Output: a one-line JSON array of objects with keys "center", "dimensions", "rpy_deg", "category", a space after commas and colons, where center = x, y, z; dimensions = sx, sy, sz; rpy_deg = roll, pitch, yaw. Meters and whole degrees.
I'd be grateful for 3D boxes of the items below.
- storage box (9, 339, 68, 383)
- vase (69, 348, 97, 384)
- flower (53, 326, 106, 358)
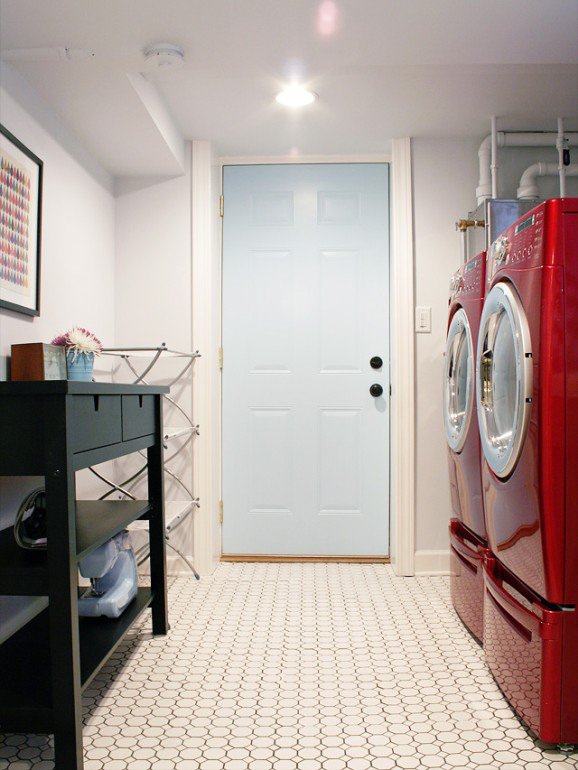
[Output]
[{"center": [-0.698, -0.064, 1.716], "dimensions": [0.147, 0.099, 0.114], "rpy_deg": [0, 0, -24], "category": "storage box"}, {"center": [-0.618, -0.057, 1.836], "dimensions": [0.044, 0.090, 0.110], "rpy_deg": [0, 0, 18], "category": "vase"}, {"center": [-0.644, -0.133, 1.849], "dimensions": [0.109, 0.046, 0.112], "rpy_deg": [17, 5, 43], "category": "flower"}]
